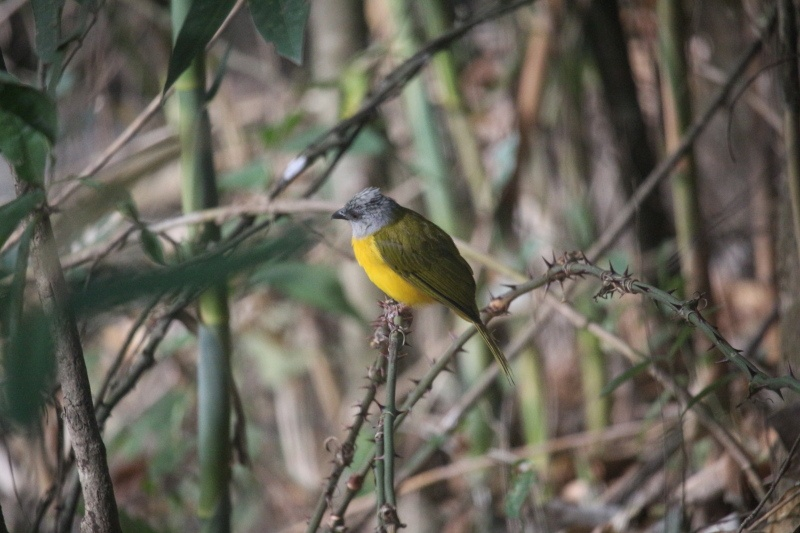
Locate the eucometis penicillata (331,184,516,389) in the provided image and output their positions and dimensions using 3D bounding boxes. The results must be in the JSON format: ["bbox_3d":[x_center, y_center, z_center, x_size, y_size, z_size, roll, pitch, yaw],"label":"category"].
[{"bbox_3d":[0.138,0.071,4.863,0.390,0.943,1.272,3,-2,-38],"label":"eucometis penicillata"}]
